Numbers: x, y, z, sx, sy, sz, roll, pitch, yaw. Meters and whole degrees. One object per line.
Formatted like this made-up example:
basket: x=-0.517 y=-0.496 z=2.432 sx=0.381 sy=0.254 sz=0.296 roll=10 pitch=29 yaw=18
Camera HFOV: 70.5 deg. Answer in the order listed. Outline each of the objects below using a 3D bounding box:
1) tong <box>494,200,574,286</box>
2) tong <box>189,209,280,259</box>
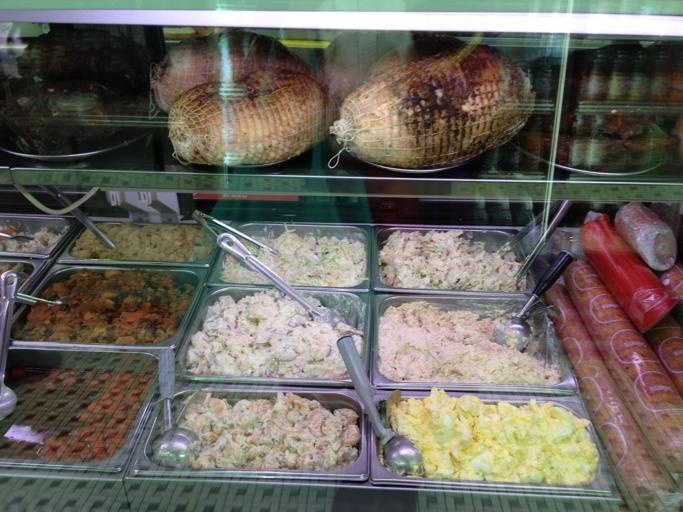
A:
tong: x=0.652 y=-0.041 z=1.623 sx=0.161 sy=0.339 sz=0.189 roll=11 pitch=42 yaw=21
tong: x=-0.404 y=-0.085 z=1.793 sx=0.362 sy=0.050 sz=0.041 roll=23 pitch=54 yaw=4
